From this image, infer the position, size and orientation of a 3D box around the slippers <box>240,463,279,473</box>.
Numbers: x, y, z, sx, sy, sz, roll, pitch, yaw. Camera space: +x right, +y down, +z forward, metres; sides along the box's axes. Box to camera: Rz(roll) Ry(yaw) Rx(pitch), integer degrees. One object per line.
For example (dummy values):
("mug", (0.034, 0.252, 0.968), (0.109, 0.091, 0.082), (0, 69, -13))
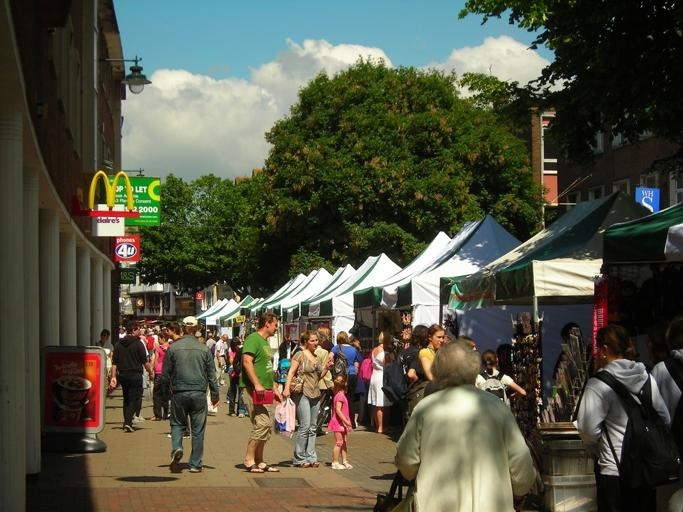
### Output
("slippers", (-1.148, 2.988, 14.009), (0.371, 0.085, 0.193), (-1, 0, 26))

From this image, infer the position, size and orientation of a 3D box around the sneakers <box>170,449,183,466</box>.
("sneakers", (-2.236, 2.736, 13.499), (0.114, 0.140, 0.338), (14, -54, -11))

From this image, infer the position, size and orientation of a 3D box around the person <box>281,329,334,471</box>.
("person", (-0.517, 2.065, 14.366), (0.628, 1.951, 0.851), (-1, -7, -2))

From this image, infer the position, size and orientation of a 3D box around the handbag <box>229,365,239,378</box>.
("handbag", (-2.441, 2.630, 22.568), (0.327, 0.284, 0.348), (-1, -5, 7))

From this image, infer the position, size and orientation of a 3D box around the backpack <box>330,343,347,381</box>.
("backpack", (-0.058, 2.047, 19.354), (0.356, 1.018, 0.497), (0, -4, -3))

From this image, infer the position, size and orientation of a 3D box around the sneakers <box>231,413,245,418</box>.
("sneakers", (-2.401, 3.655, 22.748), (0.380, 0.193, 0.131), (-4, -6, 33))

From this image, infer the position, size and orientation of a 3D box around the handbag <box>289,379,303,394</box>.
("handbag", (-0.640, 1.875, 14.192), (0.164, 0.180, 0.171), (1, -6, -6))

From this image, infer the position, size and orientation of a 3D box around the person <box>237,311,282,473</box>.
("person", (-1.153, 1.904, 13.901), (0.504, 2.215, 0.721), (0, -7, -5))

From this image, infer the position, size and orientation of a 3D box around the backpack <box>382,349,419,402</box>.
("backpack", (0.875, 1.741, 14.429), (0.404, 0.730, 0.801), (16, -50, 3))

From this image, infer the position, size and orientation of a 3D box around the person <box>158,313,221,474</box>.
("person", (-2.129, 1.912, 13.871), (0.786, 2.175, 0.879), (0, -7, -9))

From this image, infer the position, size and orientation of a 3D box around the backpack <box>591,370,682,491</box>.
("backpack", (2.574, 1.497, 8.631), (0.658, 1.008, 0.189), (-3, -7, 19))
